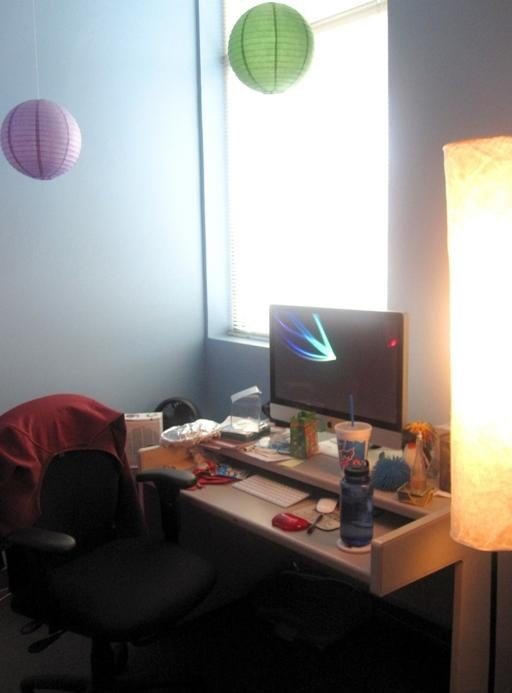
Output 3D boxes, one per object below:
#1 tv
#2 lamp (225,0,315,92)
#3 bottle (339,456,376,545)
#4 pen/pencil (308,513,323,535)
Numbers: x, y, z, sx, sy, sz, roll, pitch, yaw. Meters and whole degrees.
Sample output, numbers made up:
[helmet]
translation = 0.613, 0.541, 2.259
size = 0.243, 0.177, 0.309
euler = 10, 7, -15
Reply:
[tv]
translation = 0.268, 0.125, 1.774
size = 0.140, 0.368, 0.429
euler = -8, 11, -39
[lamp]
translation = 0.031, -1.056, 2.057
size = 0.288, 0.365, 0.298
euler = 0, 9, -7
[bottle]
translation = 0.239, 0.389, 1.306
size = 0.075, 0.187, 0.076
euler = 0, 7, 0
[pen/pencil]
translation = 0.155, 0.465, 1.436
size = 0.015, 0.014, 0.110
euler = 9, 14, 19
